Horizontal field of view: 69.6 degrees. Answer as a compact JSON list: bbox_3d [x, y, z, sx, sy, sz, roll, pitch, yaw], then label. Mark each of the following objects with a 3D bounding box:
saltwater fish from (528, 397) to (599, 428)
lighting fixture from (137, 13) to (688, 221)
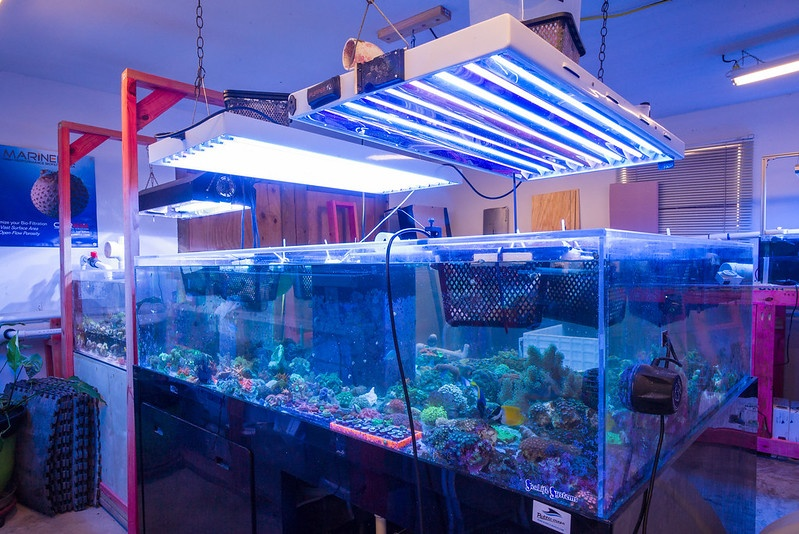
[{"bbox_3d":[0.678,0.611,2.396,0.181,0.062,0.132,0,-1,9],"label":"saltwater fish"},{"bbox_3d":[0.117,-0.773,3.017,2.495,0.657,1.344,1,9,26],"label":"lighting fixture"}]
